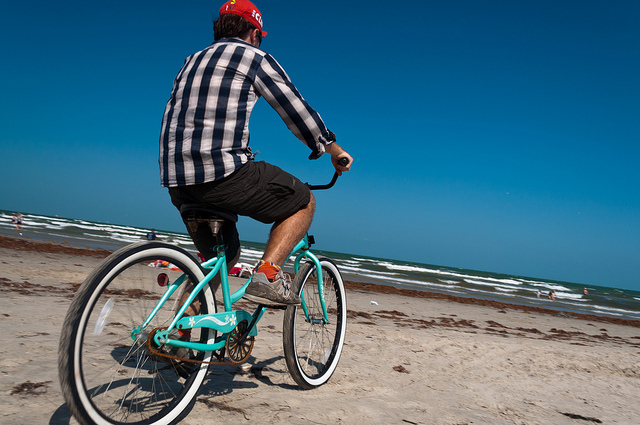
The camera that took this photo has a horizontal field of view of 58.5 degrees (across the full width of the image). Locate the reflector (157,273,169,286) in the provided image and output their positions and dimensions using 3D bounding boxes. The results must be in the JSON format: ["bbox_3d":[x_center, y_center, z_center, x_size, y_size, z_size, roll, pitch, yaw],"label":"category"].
[{"bbox_3d":[-1.419,0.616,5.184,0.099,0.103,0.063,8,8,-18],"label":"reflector"}]

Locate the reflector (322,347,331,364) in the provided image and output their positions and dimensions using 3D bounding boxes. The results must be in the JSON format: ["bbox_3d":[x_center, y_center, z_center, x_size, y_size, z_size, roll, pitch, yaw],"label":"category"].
[{"bbox_3d":[0.071,1.597,6.298,0.074,0.151,0.175,12,7,5],"label":"reflector"}]

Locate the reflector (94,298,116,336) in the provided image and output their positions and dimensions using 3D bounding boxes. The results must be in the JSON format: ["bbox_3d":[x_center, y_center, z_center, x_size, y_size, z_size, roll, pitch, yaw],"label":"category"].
[{"bbox_3d":[-1.848,0.901,4.919,0.124,0.320,0.040,5,11,-42],"label":"reflector"}]

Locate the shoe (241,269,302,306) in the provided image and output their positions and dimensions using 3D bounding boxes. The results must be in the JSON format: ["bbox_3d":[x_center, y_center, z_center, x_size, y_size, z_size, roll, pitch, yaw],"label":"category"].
[{"bbox_3d":[-0.438,0.762,5.703,0.301,0.313,0.837,11,-5,33],"label":"shoe"}]
